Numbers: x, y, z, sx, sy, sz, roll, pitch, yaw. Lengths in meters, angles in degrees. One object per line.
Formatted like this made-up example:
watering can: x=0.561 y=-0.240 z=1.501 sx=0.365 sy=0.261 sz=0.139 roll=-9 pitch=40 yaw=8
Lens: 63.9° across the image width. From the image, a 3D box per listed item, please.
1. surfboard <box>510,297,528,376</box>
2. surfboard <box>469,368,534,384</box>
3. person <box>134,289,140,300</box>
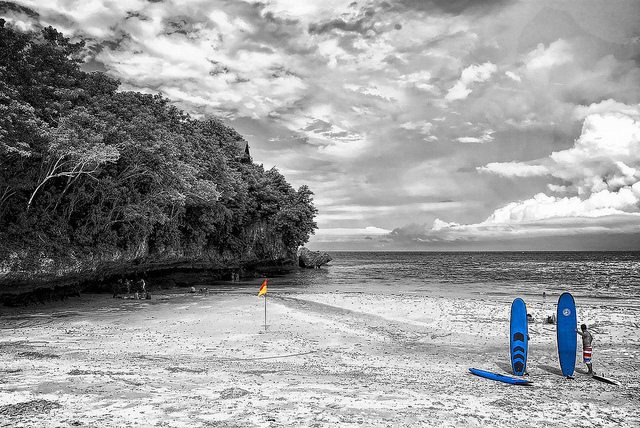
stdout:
surfboard: x=11.519 y=7.039 z=29.797 sx=1.084 sy=4.324 sz=0.645 roll=0 pitch=-10 yaw=15
surfboard: x=10.096 y=9.060 z=28.625 sx=3.766 sy=0.374 sz=0.576 roll=0 pitch=-8 yaw=35
person: x=-15.676 y=6.969 z=44.095 sx=0.405 sy=0.570 sz=0.946 roll=2 pitch=-2 yaw=-21
